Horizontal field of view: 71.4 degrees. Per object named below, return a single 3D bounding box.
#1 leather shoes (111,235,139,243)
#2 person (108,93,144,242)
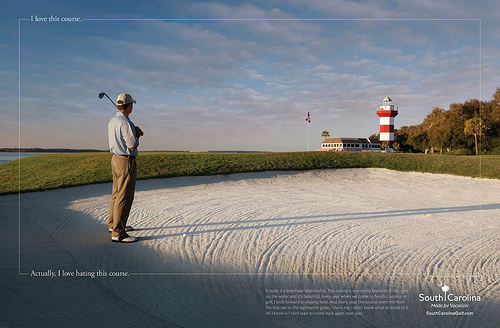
[{"bbox_3d":[-3.387,2.041,9.478,0.655,0.218,0.250,-1,4,-6],"label":"leather shoes"},{"bbox_3d":[-3.445,0.088,9.517,0.954,3.948,1.229,-4,12,-22],"label":"person"}]
